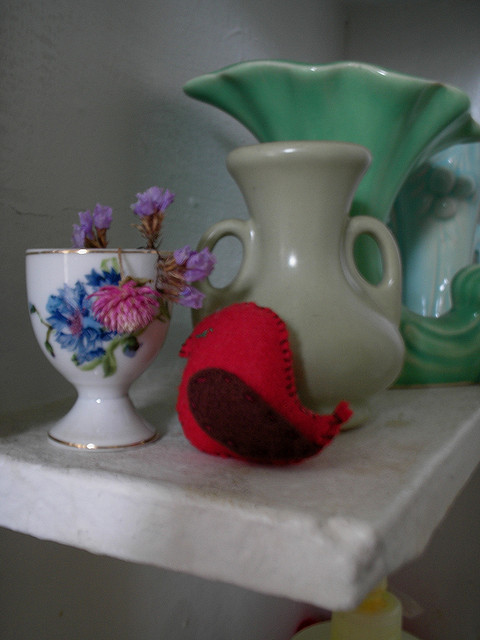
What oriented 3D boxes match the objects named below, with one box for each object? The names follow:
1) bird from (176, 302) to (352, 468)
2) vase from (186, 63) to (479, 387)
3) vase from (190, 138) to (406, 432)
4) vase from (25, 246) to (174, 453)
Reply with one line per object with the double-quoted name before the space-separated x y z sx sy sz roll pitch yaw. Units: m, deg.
"bird" 0.007 0.038 0.364 0.082 0.089 0.093 -7 12 -23
"vase" 0.039 -0.062 0.617 0.323 0.253 0.286 -3 -4 11
"vase" 0.051 -0.017 0.428 0.146 0.203 0.097 -6 12 -19
"vase" -0.090 0.021 0.401 0.099 0.115 0.097 1 -4 -45
